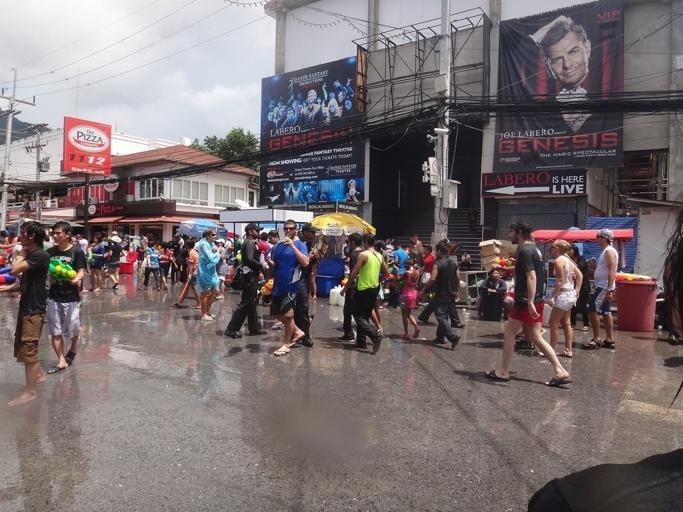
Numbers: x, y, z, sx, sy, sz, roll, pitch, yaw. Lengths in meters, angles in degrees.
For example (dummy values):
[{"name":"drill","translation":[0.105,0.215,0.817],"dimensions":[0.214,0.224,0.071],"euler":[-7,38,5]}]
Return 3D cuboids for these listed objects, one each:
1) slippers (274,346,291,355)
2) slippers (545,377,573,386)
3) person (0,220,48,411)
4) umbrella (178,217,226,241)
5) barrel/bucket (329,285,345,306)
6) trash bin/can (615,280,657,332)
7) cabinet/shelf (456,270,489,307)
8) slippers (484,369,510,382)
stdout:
[{"name":"slippers","translation":[-0.935,1.524,8.466],"dimensions":[0.167,0.105,0.277],"euler":[-1,2,26]},{"name":"slippers","translation":[2.967,1.709,7.153],"dimensions":[0.355,0.164,0.137],"euler":[0,-6,9]},{"name":"person","translation":[-3.718,0.621,6.246],"dimensions":[0.458,2.057,0.815],"euler":[-1,4,-31]},{"name":"umbrella","translation":[-5.672,-1.121,21.049],"dimensions":[2.087,0.832,2.171],"euler":[4,-3,-3]},{"name":"barrel/bucket","translation":[-0.142,1.134,14.658],"dimensions":[0.451,0.639,0.632],"euler":[0,-2,19]},{"name":"trash bin/can","translation":[6.635,0.996,11.696],"dimensions":[0.918,1.199,0.938],"euler":[-2,18,22]},{"name":"cabinet/shelf","translation":[3.598,0.927,14.356],"dimensions":[0.395,1.020,1.141],"euler":[-1,0,27]},{"name":"slippers","translation":[2.218,1.677,7.423],"dimensions":[0.253,0.096,0.143],"euler":[-1,-2,35]}]
